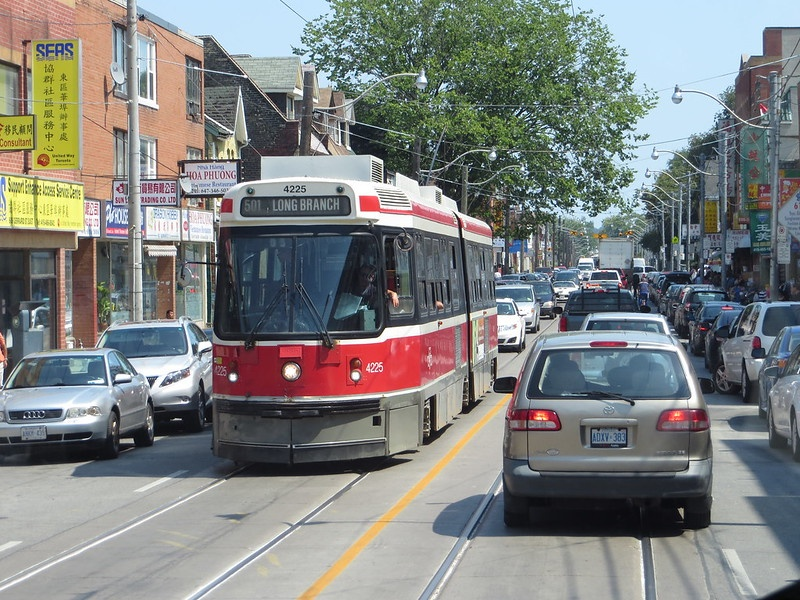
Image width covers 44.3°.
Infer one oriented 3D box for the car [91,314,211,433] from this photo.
[{"bbox_3d":[-4.583,1.234,18.928,1.351,1.235,2.939,-1,-6,4],"label":"car"}]
